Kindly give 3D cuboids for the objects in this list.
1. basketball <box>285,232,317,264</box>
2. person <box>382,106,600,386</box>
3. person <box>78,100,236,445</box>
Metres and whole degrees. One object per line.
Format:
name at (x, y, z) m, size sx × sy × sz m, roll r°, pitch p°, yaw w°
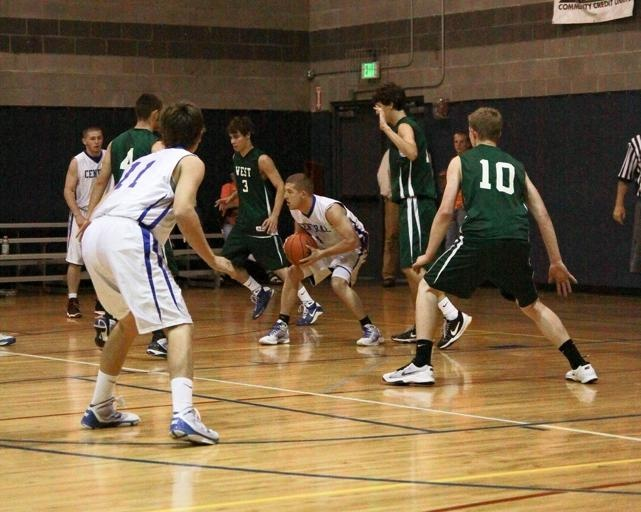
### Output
basketball at (-0.168, -0.049, 6.005) m, size 0.256 × 0.254 × 0.399 m, roll -1°, pitch 10°, yaw -2°
person at (0.985, -0.034, 4.400) m, size 1.194 × 1.685 × 0.431 m, roll -2°, pitch 9°, yaw -11°
person at (-0.712, 0.181, 3.286) m, size 0.718 × 1.309 × 0.454 m, roll 7°, pitch 12°, yaw 38°
